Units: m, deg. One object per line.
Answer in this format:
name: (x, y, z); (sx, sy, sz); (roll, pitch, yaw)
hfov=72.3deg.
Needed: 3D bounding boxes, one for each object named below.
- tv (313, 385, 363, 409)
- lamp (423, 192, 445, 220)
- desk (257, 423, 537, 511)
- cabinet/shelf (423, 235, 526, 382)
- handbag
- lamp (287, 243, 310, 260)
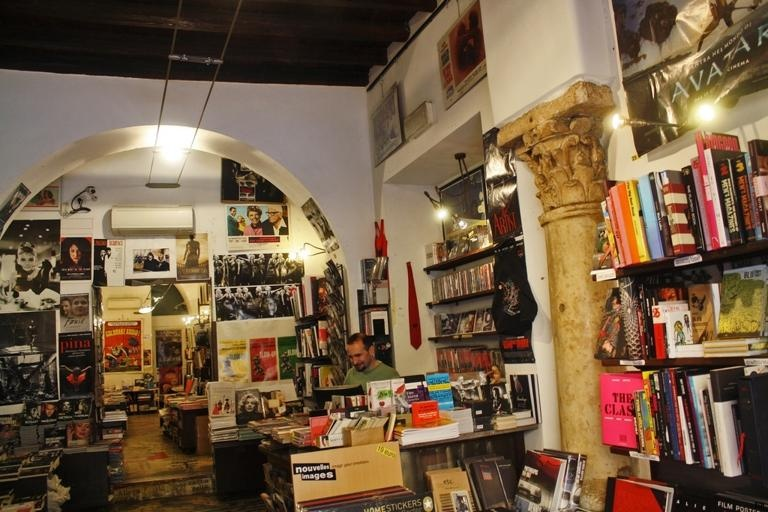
tv: (-0.460, 1.442, 5.389); (0.482, 0.115, 0.472); (2, -7, -29)
lamp: (0.751, -0.720, 7.538); (0.101, 0.237, 0.438); (-32, 41, -11)
desk: (0.055, 1.951, 4.610); (2.564, 0.726, 1.344); (-5, -9, 14)
cabinet/shelf: (1.083, 0.638, 6.183); (0.452, 1.416, 1.514); (6, -17, -22)
handbag: (1.270, 0.335, 5.178); (0.166, 0.894, 0.518); (2, -10, -28)
lamp: (-1.617, -0.079, 10.073); (0.423, 0.366, 0.236); (2, -5, 7)
